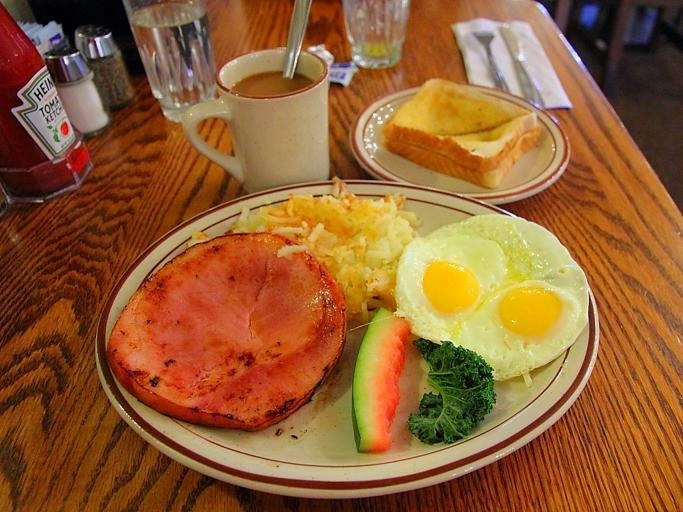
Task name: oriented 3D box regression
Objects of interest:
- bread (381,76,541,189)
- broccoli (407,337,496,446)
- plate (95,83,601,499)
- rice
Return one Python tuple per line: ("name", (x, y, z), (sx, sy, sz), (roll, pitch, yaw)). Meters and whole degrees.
("bread", (0.353, -0.371, 1.677), (0.355, 0.119, 0.349), (25, 52, 28))
("broccoli", (0.224, 0.276, 1.141), (0.130, 0.111, 0.192), (15, 29, 24))
("plate", (0.006, 0.178, 1.223), (1.037, 0.142, 0.648), (8, 54, 4))
("rice", (0.004, -0.043, 1.391), (0.352, 0.144, 0.314), (-24, 47, -22))
